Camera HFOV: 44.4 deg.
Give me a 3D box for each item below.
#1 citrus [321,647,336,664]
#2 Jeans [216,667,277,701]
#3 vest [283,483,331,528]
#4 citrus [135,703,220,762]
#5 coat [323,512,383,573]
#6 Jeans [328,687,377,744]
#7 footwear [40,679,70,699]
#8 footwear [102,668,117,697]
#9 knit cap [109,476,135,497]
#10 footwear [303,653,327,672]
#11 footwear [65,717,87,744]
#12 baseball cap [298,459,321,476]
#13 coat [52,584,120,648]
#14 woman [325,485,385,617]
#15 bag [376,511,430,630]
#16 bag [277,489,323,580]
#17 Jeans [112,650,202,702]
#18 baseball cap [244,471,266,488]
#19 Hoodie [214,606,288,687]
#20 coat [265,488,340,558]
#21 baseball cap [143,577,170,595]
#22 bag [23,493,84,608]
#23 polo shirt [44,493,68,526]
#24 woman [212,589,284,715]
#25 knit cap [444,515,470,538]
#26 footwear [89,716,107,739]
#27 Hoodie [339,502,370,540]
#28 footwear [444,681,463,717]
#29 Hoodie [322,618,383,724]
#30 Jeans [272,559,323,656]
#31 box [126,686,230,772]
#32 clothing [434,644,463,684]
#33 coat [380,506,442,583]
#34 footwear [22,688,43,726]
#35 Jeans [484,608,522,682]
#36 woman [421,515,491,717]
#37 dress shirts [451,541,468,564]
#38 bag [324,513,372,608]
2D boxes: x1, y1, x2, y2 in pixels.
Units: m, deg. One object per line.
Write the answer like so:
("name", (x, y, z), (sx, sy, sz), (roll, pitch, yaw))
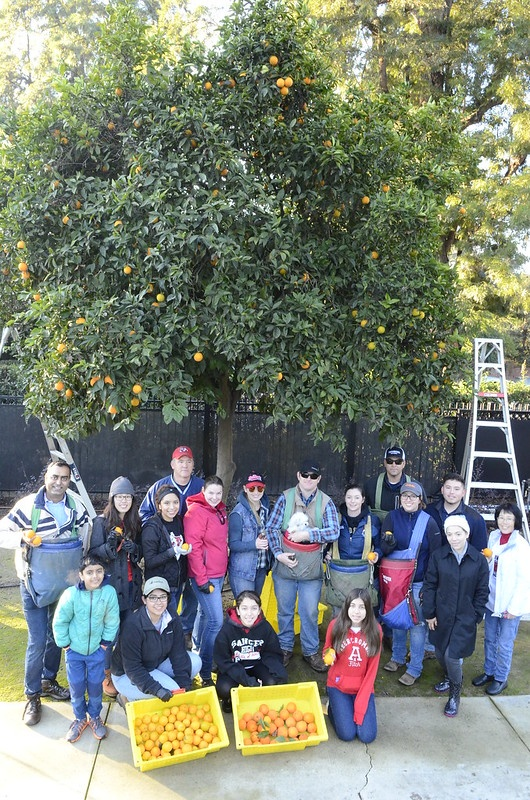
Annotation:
("citrus", (0.451, 1.774, 4.467), (0.059, 0.126, 0.050), (9, -10, 3))
("Jeans", (-0.155, 2.031, 4.691), (0.331, 0.119, 0.234), (1, 24, -7))
("vest", (0.352, 0.872, 5.440), (0.448, 0.529, 0.268), (1, -10, 3))
("citrus", (-0.584, 2.119, 4.155), (0.397, 0.130, 0.251), (-4, 37, -21))
("coat", (0.735, 1.134, 5.360), (0.498, 0.598, 0.279), (9, 14, 8))
("Jeans", (0.621, 2.208, 4.641), (0.343, 0.184, 0.591), (7, 12, 3))
("footwear", (-1.538, 2.129, 4.830), (0.249, 0.169, 0.101), (3, 2, -3))
("footwear", (-1.171, 2.163, 4.982), (0.092, 0.164, 0.264), (5, -6, -28))
("knit cap", (-1.050, 0.629, 4.824), (0.147, 0.150, 0.202), (2, 1, -22))
("footwear", (0.429, 2.181, 5.443), (0.095, 0.112, 0.244), (-1, -1, -39))
("footwear", (-1.249, 2.188, 4.328), (0.064, 0.071, 0.165), (29, 10, -3))
("baseball cap", (0.359, 0.540, 5.286), (0.140, 0.110, 0.238), (9, -5, 2))
("coat", (-1.172, 1.421, 4.276), (0.442, 0.522, 0.211), (4, -1, -33))
("woman", (0.688, 1.450, 5.304), (0.472, 1.423, 0.494), (5, 11, 16))
("bag", (1.150, 1.354, 5.306), (0.412, 1.098, 0.468), (-1, 29, 14))
("bag", (0.291, 1.105, 5.333), (0.409, 0.713, 0.314), (2, 5, 2))
("Jeans", (-0.726, 1.942, 4.531), (0.502, 0.179, 0.338), (-3, 5, -24))
("baseball cap", (-0.083, 0.647, 5.344), (0.120, 0.111, 0.177), (2, -16, -1))
("Hoodie", (-0.114, 1.816, 4.734), (0.460, 0.564, 0.441), (-4, -3, -3))
("coat", (0.301, 1.081, 5.372), (0.571, 0.686, 0.364), (8, 0, 7))
("baseball cap", (-0.718, 1.268, 4.400), (0.141, 0.132, 0.237), (5, -22, -9))
("bag", (-1.558, 1.064, 4.822), (0.437, 0.747, 0.758), (1, 2, -30))
("polo shirt", (-1.452, 0.793, 4.564), (0.123, 0.210, 0.208), (2, -11, -16))
("woman", (-0.113, 1.849, 4.724), (0.462, 0.841, 0.451), (-1, 7, -8))
("knit cap", (1.415, 0.912, 4.784), (0.156, 0.124, 0.155), (-1, 2, -35))
("footwear", (-1.110, 2.175, 4.358), (0.075, 0.070, 0.161), (4, 13, -41))
("Hoodie", (0.713, 0.982, 5.281), (0.246, 0.336, 0.216), (2, -7, 6))
("footwear", (1.406, 2.203, 4.841), (0.104, 0.248, 0.249), (3, 13, 19))
("Hoodie", (0.578, 1.800, 4.532), (0.428, 0.674, 0.411), (12, 18, 27))
("Jeans", (0.257, 1.772, 5.452), (0.392, 0.239, 0.932), (3, 33, 2))
("box", (-0.570, 2.122, 4.191), (0.550, 0.209, 0.386), (-5, 52, -23))
("clothing", (1.367, 1.962, 4.854), (0.199, 0.300, 0.225), (4, 5, 24))
("coat", (1.209, 1.148, 5.391), (0.458, 0.591, 0.315), (1, 25, 15))
("footwear", (-1.610, 2.136, 4.489), (0.077, 0.096, 0.230), (23, -3, -18))
("Jeans", (1.873, 1.919, 5.232), (0.236, 0.713, 0.172), (11, 20, 34))
("woman", (1.404, 1.579, 4.842), (0.468, 1.470, 0.296), (3, 5, 14))
("dress shirts", (1.452, 1.141, 4.869), (0.100, 0.156, 0.092), (4, 7, 8))
("bag", (0.669, 1.335, 5.304), (0.326, 0.739, 0.298), (2, -1, 8))
